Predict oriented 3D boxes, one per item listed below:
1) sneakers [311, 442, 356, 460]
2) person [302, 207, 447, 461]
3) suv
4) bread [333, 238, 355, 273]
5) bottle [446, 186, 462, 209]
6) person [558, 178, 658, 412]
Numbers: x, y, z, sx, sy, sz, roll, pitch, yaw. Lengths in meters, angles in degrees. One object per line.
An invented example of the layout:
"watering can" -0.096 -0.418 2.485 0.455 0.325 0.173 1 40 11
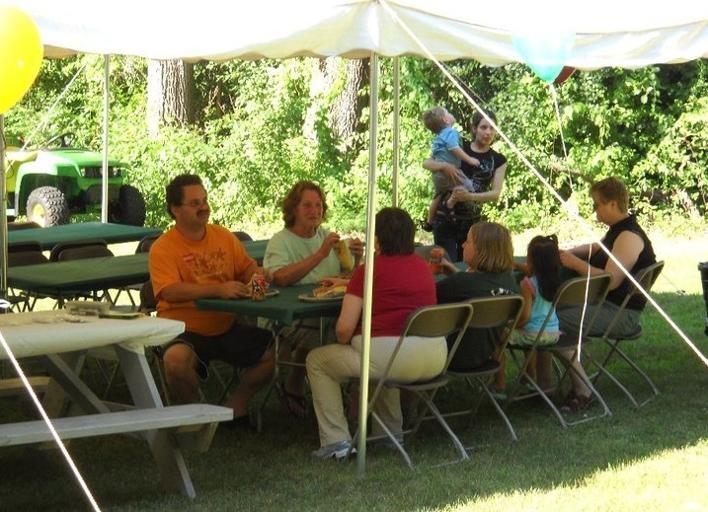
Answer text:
"sneakers" -0.113 1.122 3.838 0.251 0.126 0.099 0 -1 20
"person" 0.141 0.485 4.028 0.780 1.481 0.889 0 -8 -1
"suv" -4.718 -0.978 10.429 1.569 1.312 2.555 -3 3 -44
"bread" -0.060 -0.013 4.499 0.072 0.222 0.129 -7 18 22
"bottle" 0.972 -0.576 6.331 0.082 0.195 0.153 27 -7 -2
"person" 1.936 0.276 5.129 0.962 1.741 0.724 -1 4 28
